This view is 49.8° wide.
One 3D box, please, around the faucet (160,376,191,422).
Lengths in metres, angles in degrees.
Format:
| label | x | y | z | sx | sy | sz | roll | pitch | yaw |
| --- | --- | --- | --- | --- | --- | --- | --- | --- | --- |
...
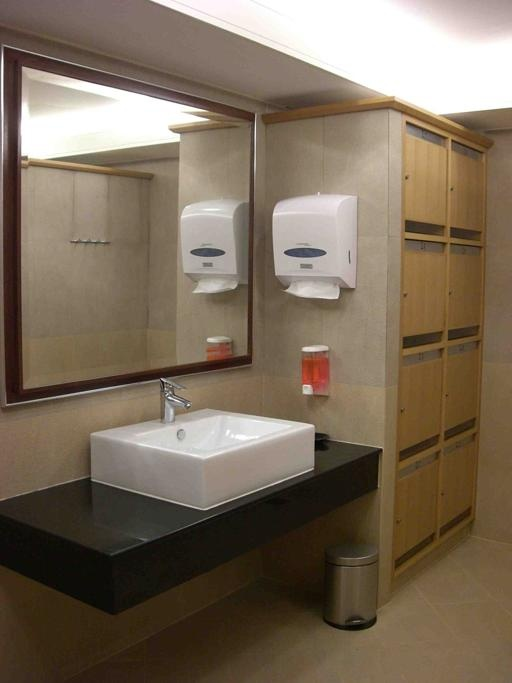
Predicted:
| label | x | y | z | sx | sy | sz | roll | pitch | yaw |
| --- | --- | --- | --- | --- | --- | --- | --- | --- | --- |
| faucet | -0.273 | 0.208 | 1.868 | 0.046 | 0.146 | 0.157 | -5 | 8 | -42 |

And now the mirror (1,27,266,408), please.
| label | x | y | z | sx | sy | sz | roll | pitch | yaw |
| --- | --- | --- | --- | --- | --- | --- | --- | --- | --- |
| mirror | -0.429 | -0.429 | 1.854 | 0.388 | 1.081 | 1.172 | 2 | 5 | 27 |

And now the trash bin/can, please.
| label | x | y | z | sx | sy | sz | roll | pitch | yaw |
| --- | --- | --- | --- | --- | --- | --- | --- | --- | --- |
| trash bin/can | 0.393 | 1.006 | 2.327 | 0.221 | 0.291 | 0.243 | -1 | 0 | -8 |

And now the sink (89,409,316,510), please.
| label | x | y | z | sx | sy | sz | roll | pitch | yaw |
| --- | --- | --- | --- | --- | --- | --- | --- | --- | --- |
| sink | -0.166 | 0.360 | 1.803 | 0.536 | 0.179 | 0.578 | -1 | -1 | 39 |

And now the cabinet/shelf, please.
| label | x | y | z | sx | sy | sz | roll | pitch | yaw |
| --- | --- | --- | --- | --- | --- | --- | --- | --- | --- |
| cabinet/shelf | 0.625 | 0.017 | 2.764 | 0.699 | 2.249 | 1.242 | -1 | -1 | 40 |
